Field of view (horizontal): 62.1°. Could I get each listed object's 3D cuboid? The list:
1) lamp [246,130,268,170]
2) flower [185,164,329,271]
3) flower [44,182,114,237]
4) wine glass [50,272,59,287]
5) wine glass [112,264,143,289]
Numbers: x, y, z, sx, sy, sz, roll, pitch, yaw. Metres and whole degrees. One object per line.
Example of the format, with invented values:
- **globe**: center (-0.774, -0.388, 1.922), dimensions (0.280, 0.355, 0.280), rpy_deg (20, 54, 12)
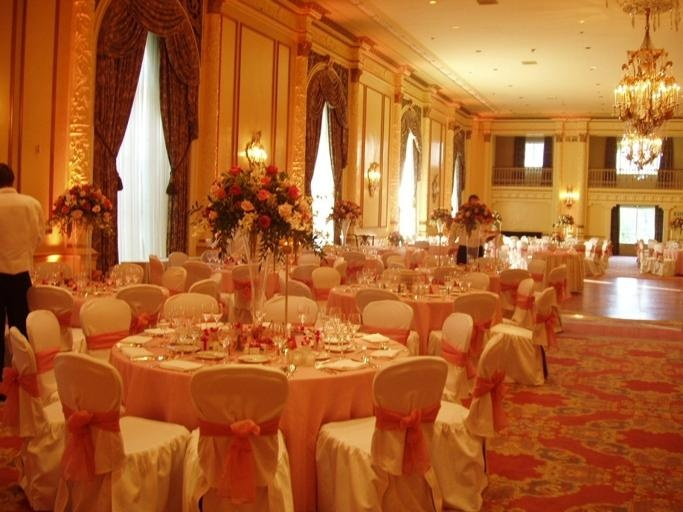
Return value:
- **lamp**: center (-1.679, -2.115, 11.068), dimensions (0.422, 0.614, 0.867), rpy_deg (3, 0, -6)
- **flower**: center (-0.666, -0.338, 4.334), dimensions (0.675, 0.757, 0.757), rpy_deg (-2, 7, -16)
- **flower**: center (-3.222, -0.554, 7.040), dimensions (0.582, 0.759, 0.660), rpy_deg (1, 1, 1)
- **wine glass**: center (-3.078, 0.251, 6.096), dimensions (0.112, 0.162, 0.123), rpy_deg (1, 5, -21)
- **wine glass**: center (-2.536, 0.239, 6.684), dimensions (0.191, 0.287, 0.197), rpy_deg (6, -10, -5)
